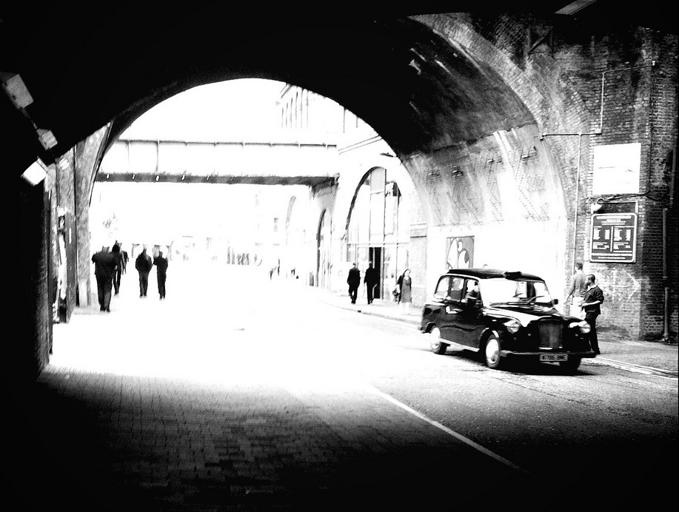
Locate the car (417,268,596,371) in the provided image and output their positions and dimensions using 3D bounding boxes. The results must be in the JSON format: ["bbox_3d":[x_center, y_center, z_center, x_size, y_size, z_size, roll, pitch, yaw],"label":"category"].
[{"bbox_3d":[3.974,1.491,15.530,1.944,2.078,4.105,2,-3,-19],"label":"car"}]
